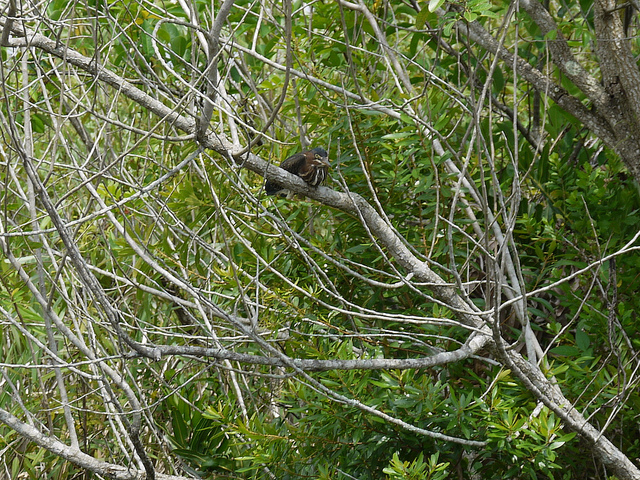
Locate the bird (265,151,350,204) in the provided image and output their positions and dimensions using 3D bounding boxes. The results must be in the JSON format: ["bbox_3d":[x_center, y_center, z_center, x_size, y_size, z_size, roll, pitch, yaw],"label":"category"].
[{"bbox_3d":[-0.133,-0.405,5.433,0.500,0.252,0.256,-3,-8,32],"label":"bird"}]

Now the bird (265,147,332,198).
[{"bbox_3d":[-0.130,-0.392,5.444,0.475,0.351,0.250,9,8,37],"label":"bird"}]
